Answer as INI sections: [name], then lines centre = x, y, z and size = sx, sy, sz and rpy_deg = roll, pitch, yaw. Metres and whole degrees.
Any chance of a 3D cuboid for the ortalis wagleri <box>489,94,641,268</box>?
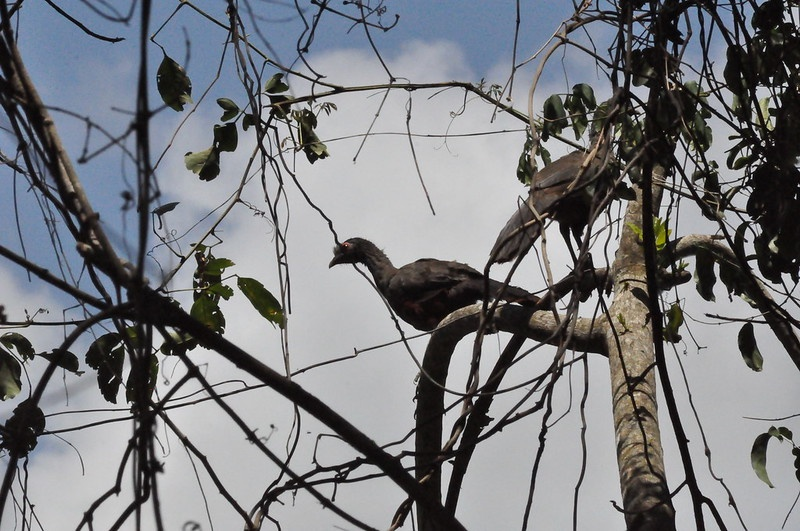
[ortalis wagleri]
centre = 0.788, -0.371, 5.677
size = 0.317, 0.965, 0.824
rpy_deg = 1, -78, 34
